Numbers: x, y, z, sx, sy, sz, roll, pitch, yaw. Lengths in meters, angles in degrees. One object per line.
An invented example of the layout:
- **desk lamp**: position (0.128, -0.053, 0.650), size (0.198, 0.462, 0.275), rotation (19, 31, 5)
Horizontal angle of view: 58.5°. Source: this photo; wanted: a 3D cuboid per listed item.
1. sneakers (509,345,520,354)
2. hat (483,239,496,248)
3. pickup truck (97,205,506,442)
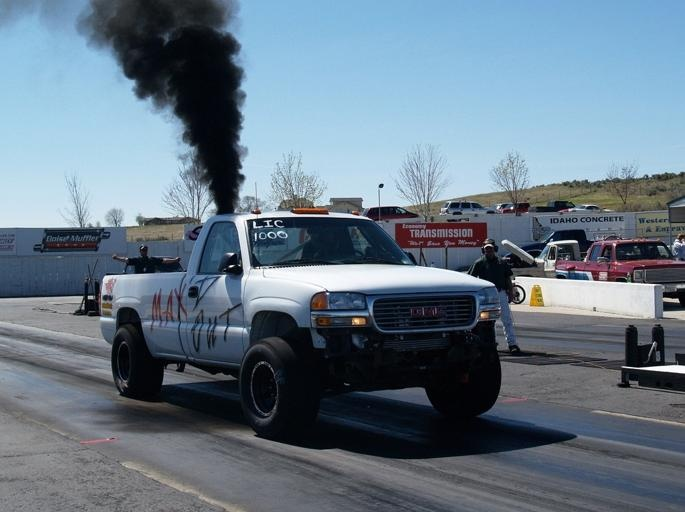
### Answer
- **sneakers**: position (3.395, 1.853, 12.091), size (0.111, 0.123, 0.295), rotation (-1, -8, -8)
- **hat**: position (2.875, -0.284, 11.966), size (0.231, 0.167, 0.330), rotation (-1, -15, 13)
- **pickup truck**: position (-1.150, 0.708, 8.075), size (6.156, 2.581, 2.369), rotation (0, 1, 42)
